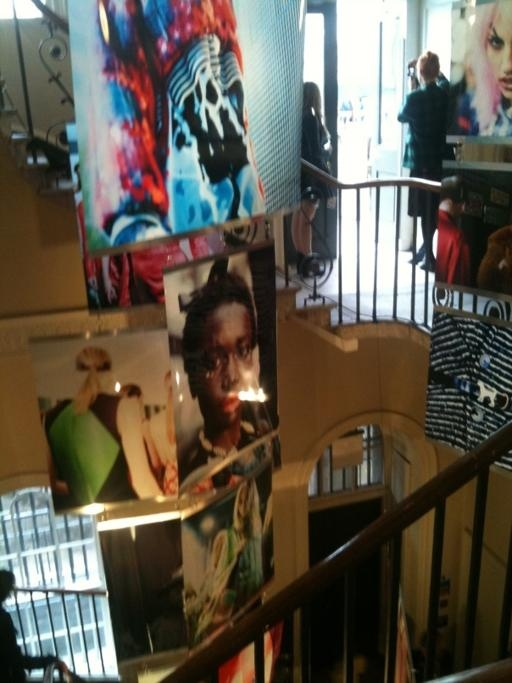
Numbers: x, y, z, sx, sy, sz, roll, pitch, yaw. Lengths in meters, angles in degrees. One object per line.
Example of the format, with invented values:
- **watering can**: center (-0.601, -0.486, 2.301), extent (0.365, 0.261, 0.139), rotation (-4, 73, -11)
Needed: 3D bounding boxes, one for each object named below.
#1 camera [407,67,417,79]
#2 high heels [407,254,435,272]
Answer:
- **camera**: center (0.962, -1.665, 3.351), extent (0.049, 0.066, 0.030), rotation (-3, 9, 4)
- **high heels**: center (1.209, -0.574, 3.950), extent (0.050, 0.106, 0.213), rotation (-8, 29, -11)
